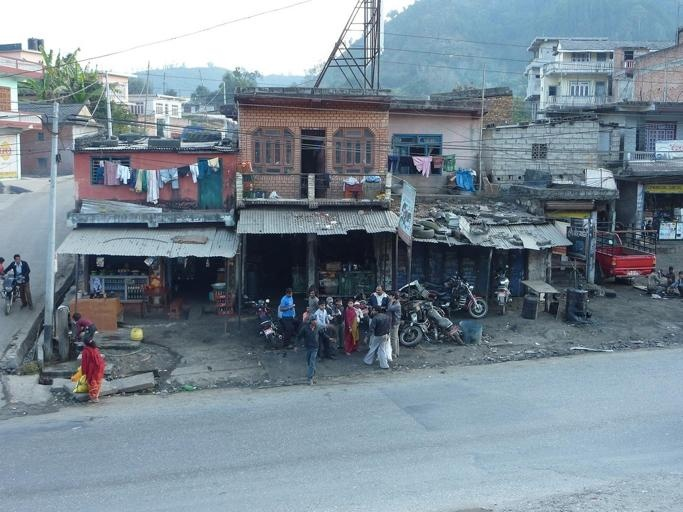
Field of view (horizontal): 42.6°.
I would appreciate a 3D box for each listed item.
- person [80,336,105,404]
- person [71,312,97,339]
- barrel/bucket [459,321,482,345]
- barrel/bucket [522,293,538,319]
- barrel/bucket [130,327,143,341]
[{"bbox_3d":[-8.253,3.788,29.064,0.594,1.934,0.492,1,5,29],"label":"person"},{"bbox_3d":[-9.103,2.530,30.994,0.629,0.994,2.225,-3,5,-23],"label":"person"},{"bbox_3d":[5.011,2.946,34.026,0.865,0.820,0.757,-1,3,22],"label":"barrel/bucket"},{"bbox_3d":[7.833,2.136,36.366,0.628,0.974,0.516,0,4,13],"label":"barrel/bucket"},{"bbox_3d":[-7.688,2.978,33.118,0.495,0.363,0.491,0,6,0],"label":"barrel/bucket"}]
